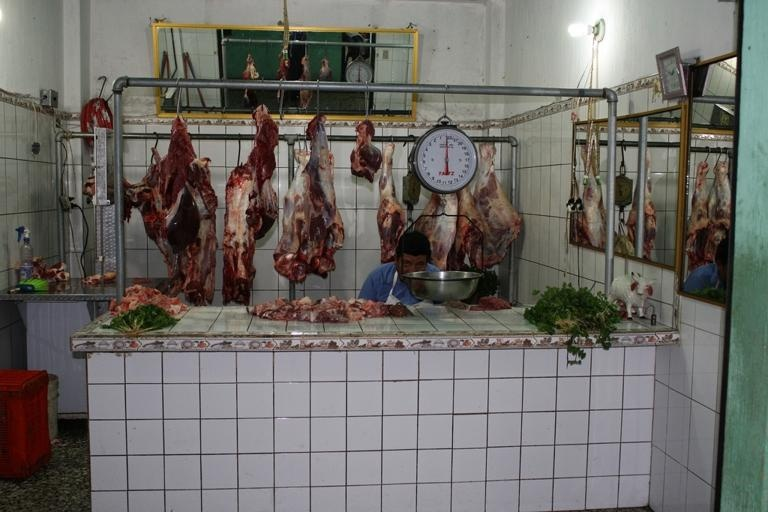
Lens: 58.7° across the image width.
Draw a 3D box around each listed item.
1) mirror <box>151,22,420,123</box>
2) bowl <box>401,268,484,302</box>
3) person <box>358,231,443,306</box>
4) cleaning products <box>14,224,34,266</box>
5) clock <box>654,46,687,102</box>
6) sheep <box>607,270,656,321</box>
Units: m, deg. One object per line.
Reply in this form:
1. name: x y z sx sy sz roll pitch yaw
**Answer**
1. mirror: -0.971 -1.865 6.946 2.657 1.058 0.027 1 -12 0
2. bowl: 0.401 0.231 4.871 0.459 0.218 0.436 0 10 0
3. person: 0.204 0.138 5.771 0.846 0.739 0.474 5 9 -6
4. cleaning products: -3.168 -0.101 6.024 0.118 0.334 0.219 -5 10 -29
5. clock: 1.906 -1.211 4.547 0.064 0.316 0.239 -4 10 -23
6. sheep: 1.781 0.290 4.881 0.254 0.319 0.293 -3 9 -14
